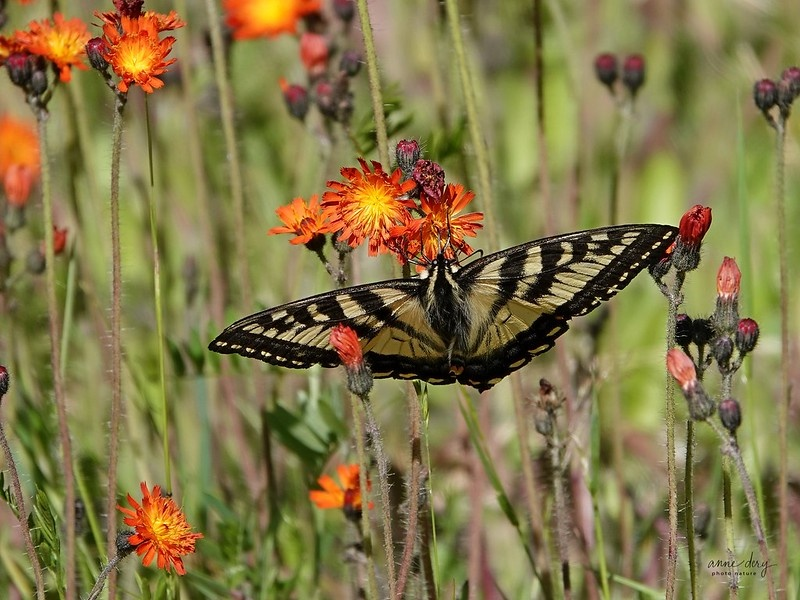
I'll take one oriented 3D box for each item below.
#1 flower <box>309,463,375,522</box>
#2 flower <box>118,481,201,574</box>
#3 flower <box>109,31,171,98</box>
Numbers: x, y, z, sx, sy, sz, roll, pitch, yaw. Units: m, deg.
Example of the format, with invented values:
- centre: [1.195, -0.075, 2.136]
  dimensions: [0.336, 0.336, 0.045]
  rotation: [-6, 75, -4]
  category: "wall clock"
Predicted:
- centre: [-0.219, 0.703, 3.989]
  dimensions: [0.205, 0.226, 0.112]
  rotation: [-23, -35, 2]
  category: "flower"
- centre: [-0.811, 0.766, 3.646]
  dimensions: [0.236, 0.336, 0.224]
  rotation: [5, 3, 43]
  category: "flower"
- centre: [-0.863, -0.784, 3.643]
  dimensions: [0.204, 0.211, 0.160]
  rotation: [3, 2, -17]
  category: "flower"
